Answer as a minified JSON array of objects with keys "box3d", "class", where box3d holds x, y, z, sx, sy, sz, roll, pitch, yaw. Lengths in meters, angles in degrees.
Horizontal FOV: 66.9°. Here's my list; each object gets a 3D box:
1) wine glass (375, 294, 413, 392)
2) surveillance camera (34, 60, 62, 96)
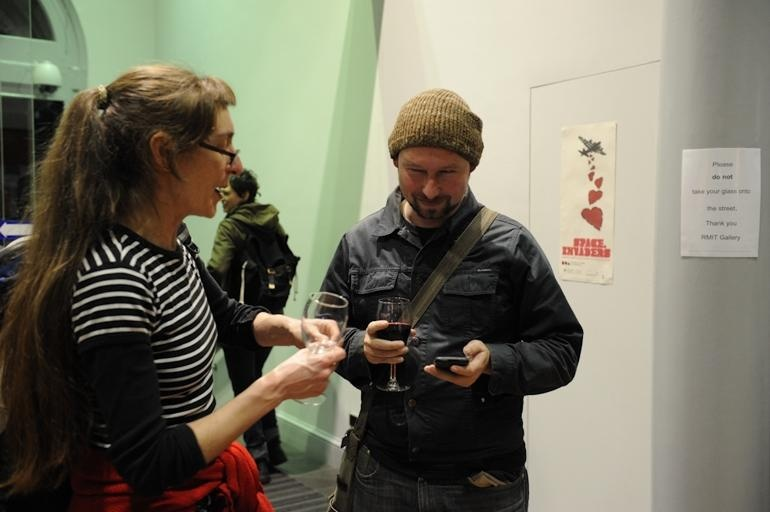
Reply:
[{"box3d":[0.027,0.336,2.199,0.129,0.365,0.196,1,3,3],"class":"wine glass"},{"box3d":[-2.954,-1.531,5.085,0.219,0.284,0.272,0,5,-6],"class":"surveillance camera"}]
